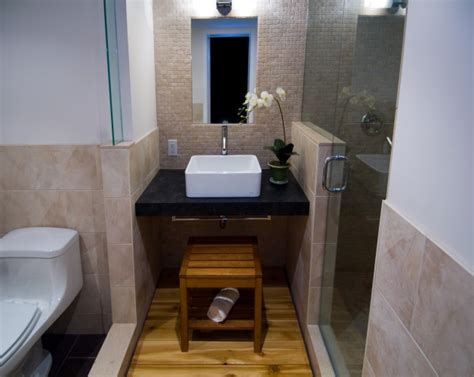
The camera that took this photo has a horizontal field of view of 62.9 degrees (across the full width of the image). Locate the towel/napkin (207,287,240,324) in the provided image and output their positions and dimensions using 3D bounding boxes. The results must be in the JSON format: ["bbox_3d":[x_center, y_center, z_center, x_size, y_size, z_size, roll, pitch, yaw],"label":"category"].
[{"bbox_3d":[-0.088,0.723,2.431,0.151,0.099,0.281,6,19,20],"label":"towel/napkin"}]

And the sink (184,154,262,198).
[{"bbox_3d":[-0.089,-0.105,2.568,0.458,0.166,0.562,-1,19,-1],"label":"sink"}]

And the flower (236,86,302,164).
[{"bbox_3d":[0.207,-0.441,2.638,0.397,0.477,0.567,-1,18,0],"label":"flower"}]

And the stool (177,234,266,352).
[{"bbox_3d":[-0.091,0.602,2.485,0.439,0.454,0.660,0,23,-1],"label":"stool"}]

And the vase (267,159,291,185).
[{"bbox_3d":[0.283,-0.114,2.548,0.145,0.128,0.154,2,29,7],"label":"vase"}]
